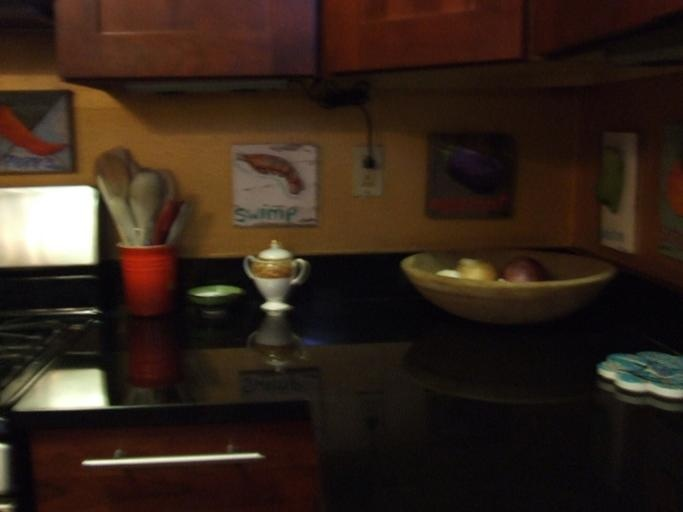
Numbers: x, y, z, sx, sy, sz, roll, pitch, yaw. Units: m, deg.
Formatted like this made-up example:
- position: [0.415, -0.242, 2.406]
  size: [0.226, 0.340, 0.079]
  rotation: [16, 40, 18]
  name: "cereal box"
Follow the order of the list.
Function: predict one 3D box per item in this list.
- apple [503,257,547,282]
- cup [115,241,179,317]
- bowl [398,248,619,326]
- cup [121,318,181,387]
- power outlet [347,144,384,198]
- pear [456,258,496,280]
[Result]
- position: [0.426, 0.034, 1.491]
  size: [0.064, 0.036, 0.070]
  rotation: [-1, -5, 21]
  name: "apple"
- position: [-0.498, 0.052, 1.587]
  size: [0.160, 0.155, 0.149]
  rotation: [4, 7, -1]
  name: "cup"
- position: [0.377, 0.068, 1.492]
  size: [0.470, 0.114, 0.348]
  rotation: [0, 15, 4]
  name: "bowl"
- position: [-0.391, 0.203, 1.344]
  size: [0.114, 0.168, 0.114]
  rotation: [-4, -13, -1]
  name: "cup"
- position: [0.069, -0.229, 1.702]
  size: [0.092, 0.132, 0.013]
  rotation: [-3, 10, -25]
  name: "power outlet"
- position: [0.320, 0.033, 1.506]
  size: [0.061, 0.027, 0.061]
  rotation: [12, 5, 41]
  name: "pear"
